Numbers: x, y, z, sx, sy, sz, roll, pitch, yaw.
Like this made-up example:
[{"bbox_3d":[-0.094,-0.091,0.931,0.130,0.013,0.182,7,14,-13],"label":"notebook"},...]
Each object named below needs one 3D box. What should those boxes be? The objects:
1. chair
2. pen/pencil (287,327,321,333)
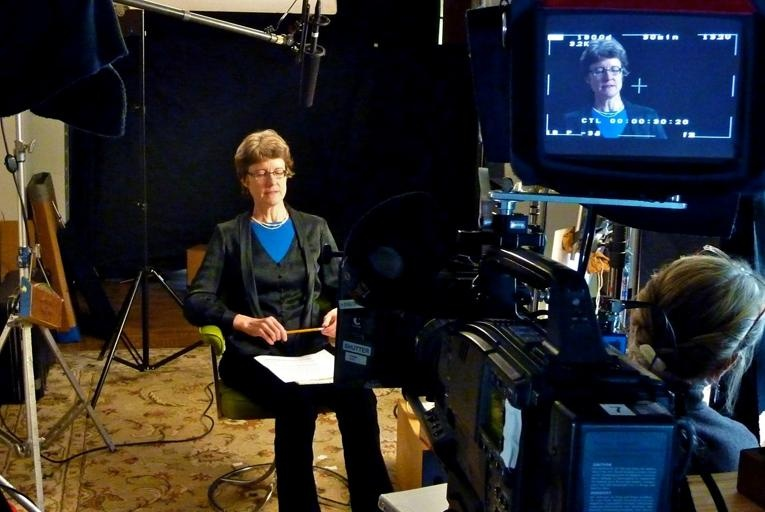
[{"bbox_3d":[-0.464,0.685,2.799,0.606,0.783,0.513,0,11,-10],"label":"chair"},{"bbox_3d":[-0.334,0.316,2.731,0.220,0.025,0.025,-4,8,29],"label":"pen/pencil"}]
